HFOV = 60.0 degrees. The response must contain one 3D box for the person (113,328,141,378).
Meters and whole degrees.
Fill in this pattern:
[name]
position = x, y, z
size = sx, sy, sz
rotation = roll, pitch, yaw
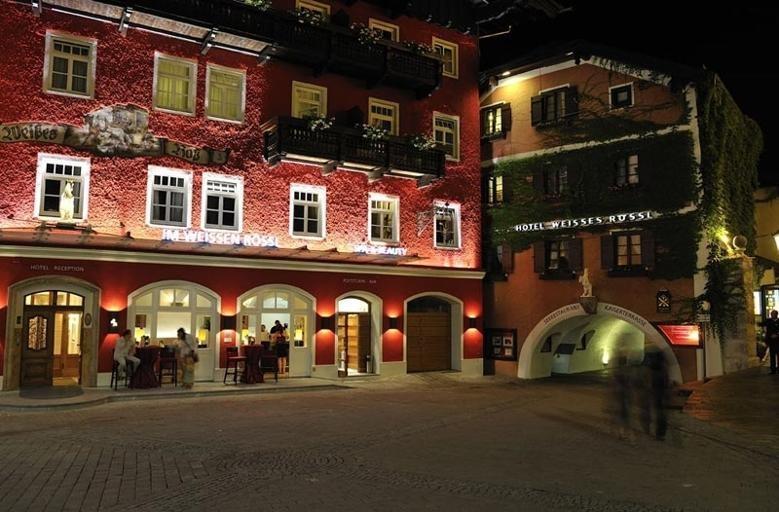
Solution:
[person]
position = -10.584, 3.884, 27.135
size = 0.903, 1.825, 0.894
rotation = 4, 0, -27
